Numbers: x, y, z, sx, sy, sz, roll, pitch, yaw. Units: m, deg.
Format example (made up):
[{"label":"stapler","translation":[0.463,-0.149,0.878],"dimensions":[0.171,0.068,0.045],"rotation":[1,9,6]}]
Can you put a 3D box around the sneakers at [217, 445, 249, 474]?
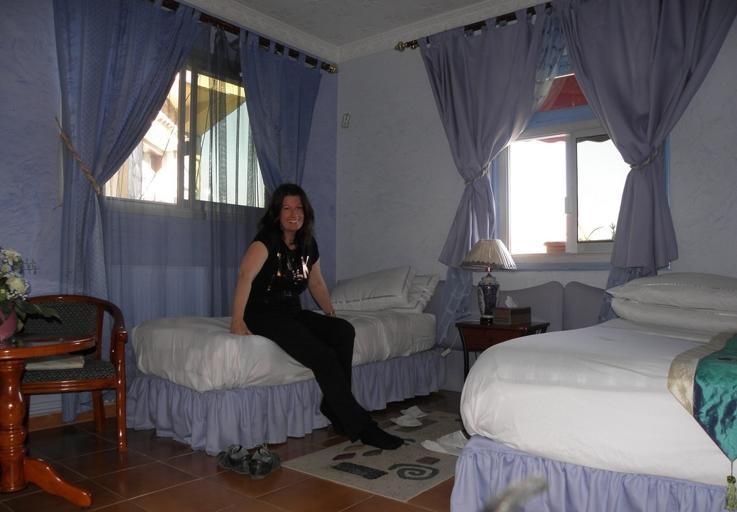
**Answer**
[{"label":"sneakers","translation":[-0.823,1.248,3.341],"dimensions":[0.252,0.119,0.119],"rotation":[4,7,34]}]

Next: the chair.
[{"label":"chair","translation":[-2.070,0.742,3.615],"dimensions":[0.733,0.980,0.759],"rotation":[3,-2,-44]}]

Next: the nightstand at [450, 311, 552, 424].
[{"label":"nightstand","translation":[0.992,0.899,4.454],"dimensions":[0.655,0.999,0.656],"rotation":[-1,-3,35]}]

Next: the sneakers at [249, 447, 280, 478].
[{"label":"sneakers","translation":[-0.646,1.316,3.367],"dimensions":[0.138,0.149,0.354],"rotation":[-9,-20,2]}]

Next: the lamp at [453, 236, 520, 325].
[{"label":"lamp","translation":[1.032,0.220,4.595],"dimensions":[0.471,0.692,0.497],"rotation":[1,-6,6]}]

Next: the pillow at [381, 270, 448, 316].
[{"label":"pillow","translation":[0.454,0.338,4.909],"dimensions":[0.377,0.372,0.111],"rotation":[11,-26,45]}]
